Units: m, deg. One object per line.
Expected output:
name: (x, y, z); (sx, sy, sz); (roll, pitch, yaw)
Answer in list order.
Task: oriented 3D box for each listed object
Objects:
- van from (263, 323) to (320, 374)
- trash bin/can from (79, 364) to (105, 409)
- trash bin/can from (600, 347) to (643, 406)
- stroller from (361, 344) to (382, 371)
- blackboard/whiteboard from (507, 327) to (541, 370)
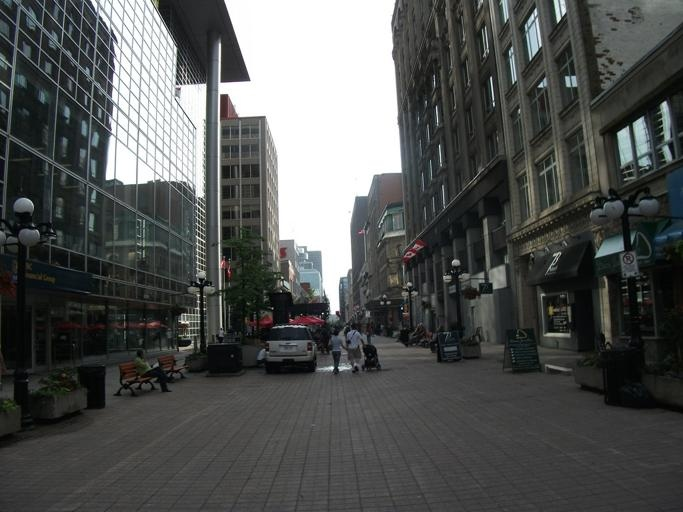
van: (-2.092, 4.101, 23.286); (1.842, 2.176, 2.351); (1, -4, -2)
trash bin/can: (-6.830, 3.682, 15.004); (0.621, 1.171, 0.692); (-7, -10, -7)
trash bin/can: (6.340, 2.862, 12.918); (0.716, 1.251, 0.752); (0, -1, -31)
stroller: (1.232, 4.235, 22.213); (0.820, 1.406, 0.951); (-2, -11, 4)
blackboard/whiteboard: (6.405, 3.176, 19.033); (1.012, 0.902, 1.632); (-4, -56, 27)
